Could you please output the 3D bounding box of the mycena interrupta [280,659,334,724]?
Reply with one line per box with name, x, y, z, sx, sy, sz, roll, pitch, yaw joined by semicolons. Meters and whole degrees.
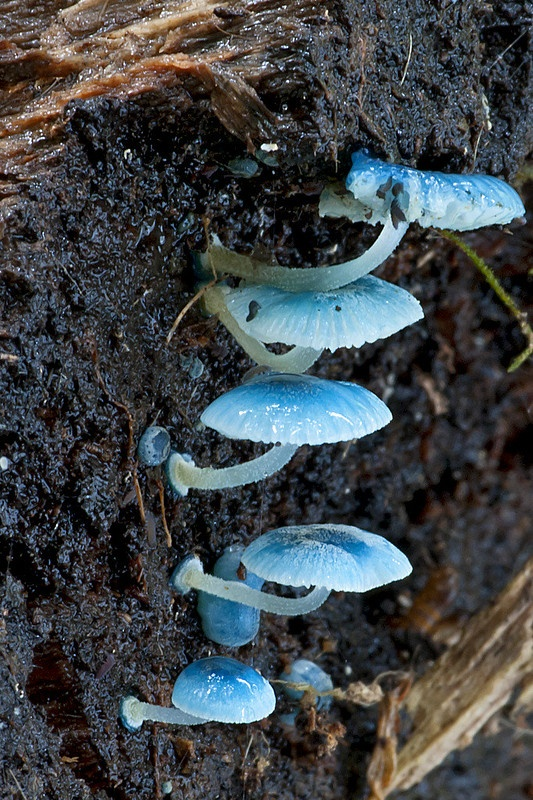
mycena interrupta;0.168;1.168;4.051;0.216;0.071;0.219;2;95;-28
